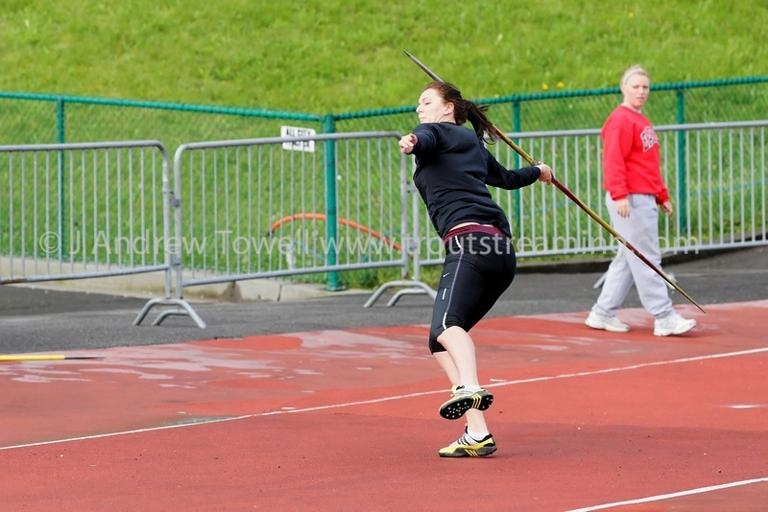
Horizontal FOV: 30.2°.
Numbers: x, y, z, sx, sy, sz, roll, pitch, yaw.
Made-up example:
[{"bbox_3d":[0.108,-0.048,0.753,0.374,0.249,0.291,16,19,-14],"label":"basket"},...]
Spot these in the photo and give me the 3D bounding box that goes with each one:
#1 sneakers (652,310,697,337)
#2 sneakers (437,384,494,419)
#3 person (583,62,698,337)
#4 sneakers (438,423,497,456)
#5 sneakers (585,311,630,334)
[{"bbox_3d":[3.045,0.710,15.008,0.421,0.255,0.255,-2,6,10],"label":"sneakers"},{"bbox_3d":[0.694,1.251,12.123,0.399,0.139,0.274,-19,24,-5],"label":"sneakers"},{"bbox_3d":[2.631,-0.562,15.022,0.988,2.820,0.636,-3,6,6],"label":"person"},{"bbox_3d":[0.694,1.607,12.217,0.561,0.277,0.192,1,-4,6],"label":"sneakers"},{"bbox_3d":[2.397,0.718,15.312,0.449,0.187,0.201,8,3,5],"label":"sneakers"}]
